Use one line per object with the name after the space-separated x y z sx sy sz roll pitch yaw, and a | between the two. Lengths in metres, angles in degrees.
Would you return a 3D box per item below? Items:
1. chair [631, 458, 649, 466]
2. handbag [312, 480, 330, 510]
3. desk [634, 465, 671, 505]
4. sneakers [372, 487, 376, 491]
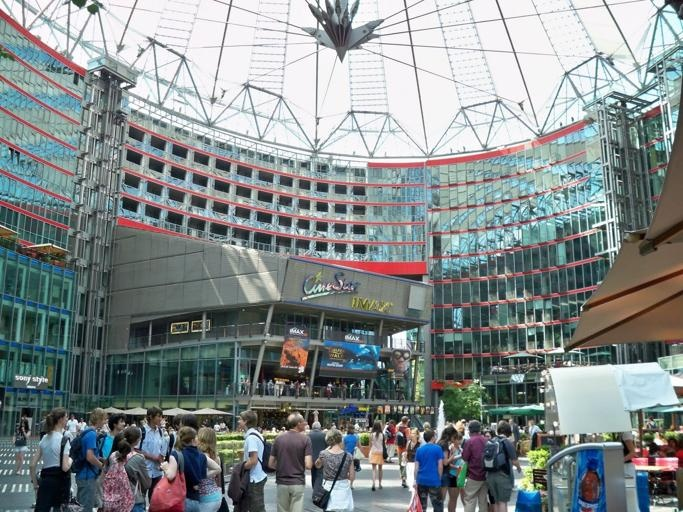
8.688 5.951 17.657 0.355 0.176 1.890 -10 -21 23 | chair
-0.415 4.833 12.236 0.271 0.515 0.455 3 -20 -12 | handbag
9.612 6.882 18.249 0.735 0.912 1.815 -11 -21 25 | desk
1.120 8.012 20.978 0.120 0.098 0.115 3 -5 -33 | sneakers
